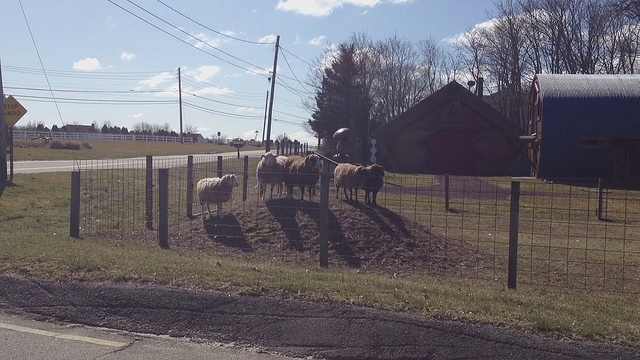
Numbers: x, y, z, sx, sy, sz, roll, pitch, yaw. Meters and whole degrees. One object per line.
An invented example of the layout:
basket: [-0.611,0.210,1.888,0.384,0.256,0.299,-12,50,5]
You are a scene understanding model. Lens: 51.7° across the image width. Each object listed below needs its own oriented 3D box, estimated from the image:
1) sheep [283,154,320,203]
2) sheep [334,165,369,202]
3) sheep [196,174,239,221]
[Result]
sheep: [-1.059,-0.125,36.662,1.886,2.495,3.141,-1,3,-21]
sheep: [1.645,0.051,37.333,0.965,1.784,3.262,0,-1,-34]
sheep: [-5.631,0.897,34.509,2.189,2.175,1.557,3,4,36]
